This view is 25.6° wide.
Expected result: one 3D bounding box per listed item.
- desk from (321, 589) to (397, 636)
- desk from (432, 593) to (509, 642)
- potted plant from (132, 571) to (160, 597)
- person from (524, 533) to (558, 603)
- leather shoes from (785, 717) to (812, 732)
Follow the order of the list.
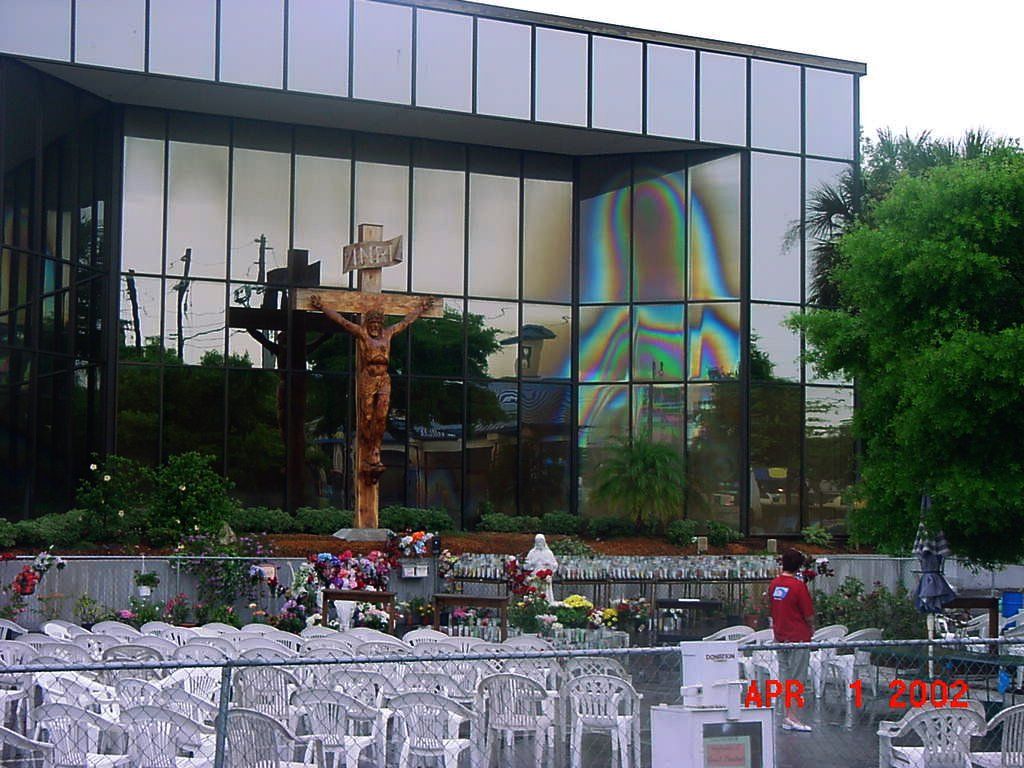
[{"bbox_3d":[-2.911,4.252,43.810,1.036,1.030,0.816,1,-11,-9],"label":"desk"},{"bbox_3d":[-0.783,4.371,44.539,1.179,1.170,0.943,2,-11,-10],"label":"desk"},{"bbox_3d":[-7.603,4.162,47.210,0.513,0.537,0.475,2,-8,-10],"label":"potted plant"},{"bbox_3d":[0.596,3.727,45.878,0.658,1.415,0.985,-1,-6,0],"label":"person"},{"bbox_3d":[5.123,6.032,40.356,0.409,0.172,0.224,-1,-4,16],"label":"leather shoes"}]
